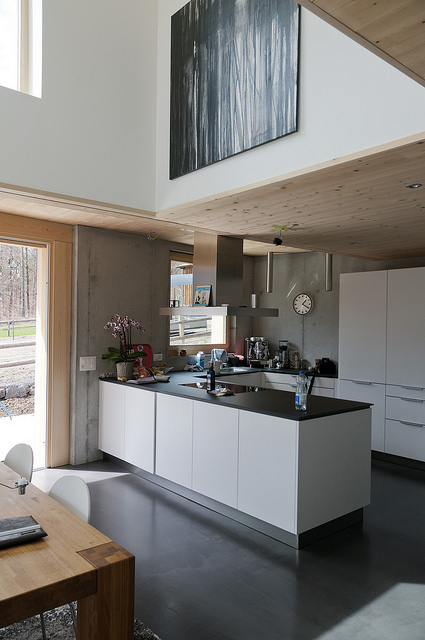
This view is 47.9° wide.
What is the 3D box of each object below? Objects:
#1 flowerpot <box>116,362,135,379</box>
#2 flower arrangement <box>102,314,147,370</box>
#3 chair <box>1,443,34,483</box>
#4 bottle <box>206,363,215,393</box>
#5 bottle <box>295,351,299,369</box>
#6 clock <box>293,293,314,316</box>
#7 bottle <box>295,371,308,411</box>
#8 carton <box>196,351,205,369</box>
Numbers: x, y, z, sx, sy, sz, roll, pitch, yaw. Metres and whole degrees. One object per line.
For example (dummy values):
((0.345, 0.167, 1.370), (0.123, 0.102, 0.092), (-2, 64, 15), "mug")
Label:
((-0.895, 0.520, 4.962), (0.161, 0.141, 0.153), (-1, -3, -14), "flowerpot")
((-0.974, 0.253, 5.210), (0.574, 0.797, 0.515), (0, -2, 3), "flower arrangement")
((-1.122, 0.802, 2.765), (0.114, 0.172, 0.404), (2, -2, -30), "chair")
((-0.016, 0.516, 4.170), (0.070, 0.213, 0.220), (1, -1, -1), "bottle")
((1.186, 0.558, 6.690), (0.053, 0.229, 0.310), (1, -2, 10), "bottle")
((1.285, -0.224, 6.753), (0.074, 0.292, 0.341), (2, -2, -35), "clock")
((0.627, 0.504, 3.380), (0.071, 0.236, 0.221), (1, -2, 9), "bottle")
((-0.157, 0.528, 6.309), (0.109, 0.194, 0.113), (1, -2, -4), "carton")
